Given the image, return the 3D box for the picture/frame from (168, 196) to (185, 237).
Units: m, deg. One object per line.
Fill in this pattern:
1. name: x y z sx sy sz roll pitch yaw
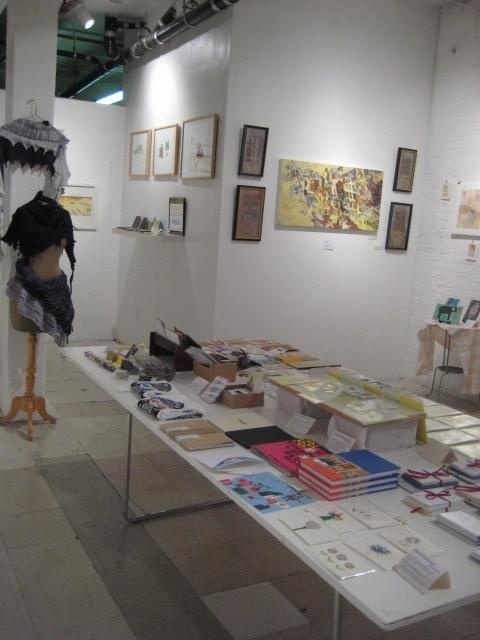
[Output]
1. picture/frame: -0.709 -1.155 5.379 0.082 0.554 0.492 -3 12 -24

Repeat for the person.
1. person: -1.536 -0.402 3.656 0.524 1.139 0.280 3 5 -21

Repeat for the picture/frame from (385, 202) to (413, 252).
1. picture/frame: 1.947 -1.119 5.838 0.386 0.601 0.089 2 6 -38

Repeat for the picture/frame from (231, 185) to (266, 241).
1. picture/frame: 0.081 -1.055 4.750 0.327 0.527 0.069 3 5 -27
